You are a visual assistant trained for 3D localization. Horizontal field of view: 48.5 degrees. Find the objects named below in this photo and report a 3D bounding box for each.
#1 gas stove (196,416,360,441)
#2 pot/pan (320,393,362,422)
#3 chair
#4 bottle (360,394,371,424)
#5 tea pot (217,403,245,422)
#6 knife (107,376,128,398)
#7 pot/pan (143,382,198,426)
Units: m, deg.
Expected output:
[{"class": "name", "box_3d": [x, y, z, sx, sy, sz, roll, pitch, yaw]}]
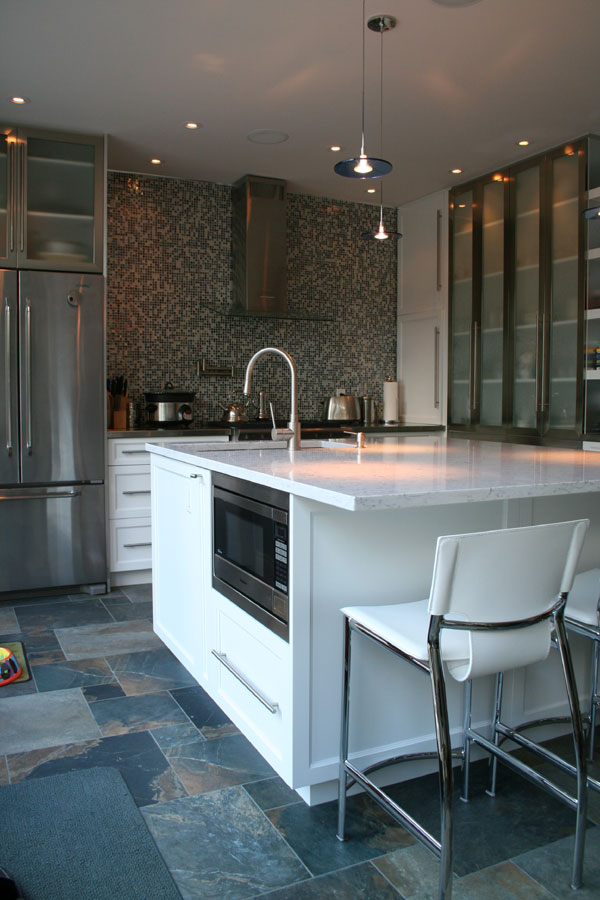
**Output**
[{"class": "gas stove", "box_3d": [-0.147, -0.135, 4.364, 1.041, 0.162, 0.639, 0, -1, -9]}, {"class": "pot/pan", "box_3d": [0.321, -0.307, 4.957, 0.210, 0.184, 0.216, 0, 3, -5]}, {"class": "chair", "box_3d": [0.345, 0.485, 1.336, 0.434, 0.715, 0.478, 0, -1, -17]}, {"class": "bottle", "box_3d": [0.514, -0.309, 5.146, 0.076, 0.205, 0.117, 0, -1, 6]}, {"class": "tea pot", "box_3d": [-0.460, -0.257, 4.549, 0.102, 0.129, 0.181, 3, 10, 17]}, {"class": "knife", "box_3d": [-1.145, -0.392, 4.153, 0.116, 0.127, 0.240, 0, -1, -17]}, {"class": "pot/pan", "box_3d": [-0.829, -0.296, 4.199, 0.236, 0.223, 0.293, -2, 5, -31]}]
